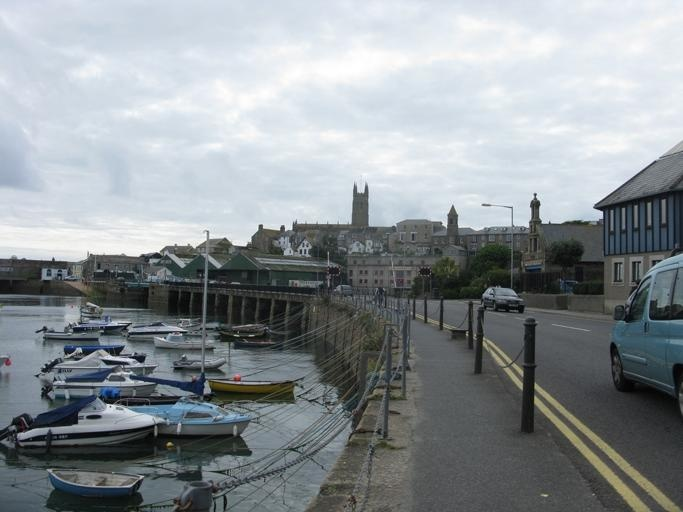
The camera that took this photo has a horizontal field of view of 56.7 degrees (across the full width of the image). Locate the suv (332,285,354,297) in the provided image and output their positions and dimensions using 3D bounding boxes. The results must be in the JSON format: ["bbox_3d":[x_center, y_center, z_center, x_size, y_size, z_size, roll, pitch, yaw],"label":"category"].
[{"bbox_3d":[0.388,4.233,73.623,1.227,0.921,2.545,-1,6,-12],"label":"suv"}]

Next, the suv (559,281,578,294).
[{"bbox_3d":[20.425,2.898,56.926,1.199,0.982,1.978,-1,-6,0],"label":"suv"}]
